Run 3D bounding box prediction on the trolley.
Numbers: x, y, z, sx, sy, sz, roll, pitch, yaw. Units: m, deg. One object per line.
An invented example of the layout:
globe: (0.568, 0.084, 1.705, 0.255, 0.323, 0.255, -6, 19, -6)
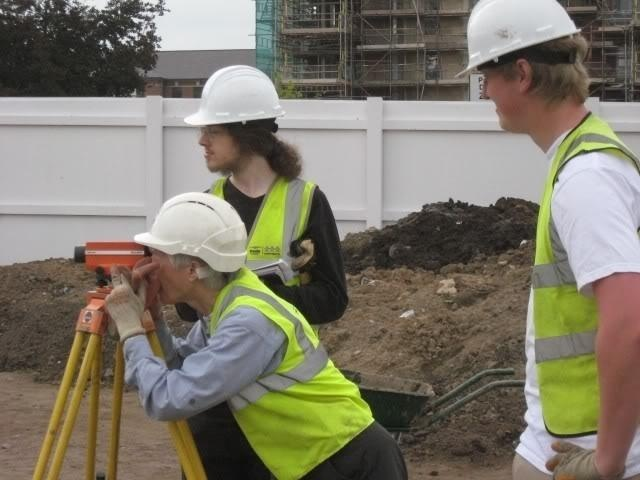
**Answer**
trolley: (1.362, 2.056, 15.496, 1.994, 0.994, 1.100, 7, -3, 4)
